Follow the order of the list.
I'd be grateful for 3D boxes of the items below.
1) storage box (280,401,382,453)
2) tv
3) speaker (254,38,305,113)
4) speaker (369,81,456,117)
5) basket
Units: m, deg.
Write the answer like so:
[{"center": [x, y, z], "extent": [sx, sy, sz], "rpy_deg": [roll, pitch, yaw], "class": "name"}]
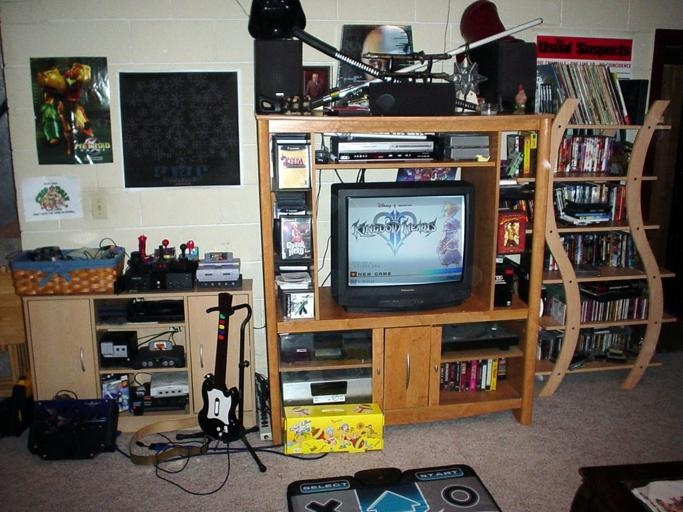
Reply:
[{"center": [-0.046, 1.092, 3.758], "extent": [0.624, 0.253, 0.185], "rpy_deg": [-1, 12, -5], "class": "storage box"}, {"center": [0.326, -0.031, 3.977], "extent": [0.994, 0.781, 0.509], "rpy_deg": [-3, 1, -26], "class": "tv"}, {"center": [-0.360, -1.030, 3.436], "extent": [0.397, 0.508, 0.293], "rpy_deg": [1, 24, -5], "class": "speaker"}, {"center": [0.466, -0.982, 3.607], "extent": [0.523, 0.208, 0.278], "rpy_deg": [4, 36, 19], "class": "speaker"}, {"center": [-1.746, 0.113, 3.835], "extent": [0.520, 0.181, 0.326], "rpy_deg": [0, 10, -9], "class": "basket"}]
